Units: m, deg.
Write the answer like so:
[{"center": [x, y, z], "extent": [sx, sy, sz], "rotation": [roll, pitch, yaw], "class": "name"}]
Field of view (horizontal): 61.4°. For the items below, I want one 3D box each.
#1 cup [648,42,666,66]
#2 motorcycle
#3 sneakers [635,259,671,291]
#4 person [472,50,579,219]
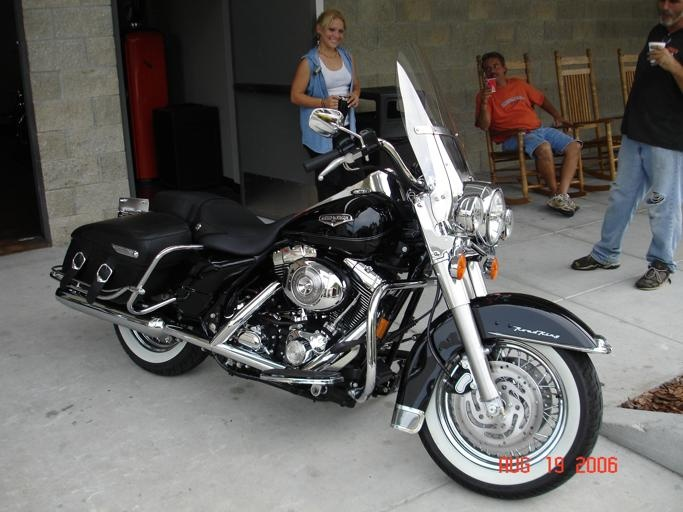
[{"center": [2.115, -1.362, 3.884], "extent": [0.075, 0.147, 0.211], "rotation": [7, 23, 24], "class": "cup"}, {"center": [0.091, 0.028, 3.242], "extent": [3.162, 1.882, 1.332], "rotation": [11, 15, 32], "class": "motorcycle"}, {"center": [2.292, 0.136, 4.217], "extent": [0.354, 0.160, 0.137], "rotation": [-14, 18, -37], "class": "sneakers"}, {"center": [2.051, -1.417, 6.285], "extent": [0.972, 1.721, 1.386], "rotation": [-17, 18, -7], "class": "person"}]
